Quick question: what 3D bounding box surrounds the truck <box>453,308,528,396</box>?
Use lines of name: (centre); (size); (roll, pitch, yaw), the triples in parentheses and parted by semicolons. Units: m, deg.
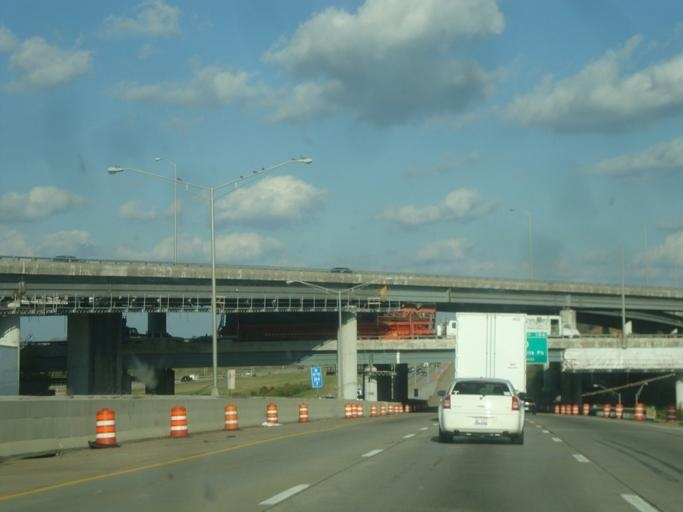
truck: (8.146, 2.900, 65.931); (3.812, 5.640, 7.283); (-1, 36, 6)

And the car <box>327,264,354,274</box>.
car: (-0.004, 1.157, 103.853); (1.647, 0.710, 3.384); (-5, -10, 9)
